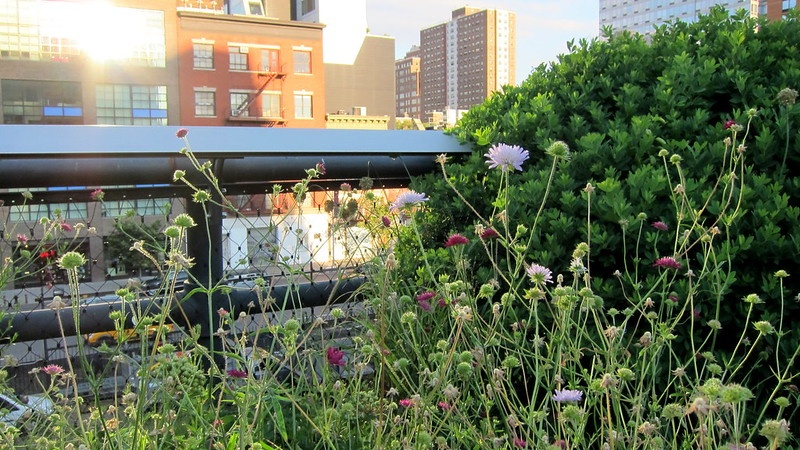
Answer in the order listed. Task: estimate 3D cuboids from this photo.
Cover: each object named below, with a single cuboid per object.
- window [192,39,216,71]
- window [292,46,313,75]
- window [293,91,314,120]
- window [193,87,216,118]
[{"bbox_3d":[-8.427,-7.304,30.316,0.202,1.556,1.303,4,9,40],"label":"window"},{"bbox_3d":[-4.602,-7.758,33.309,1.267,1.633,0.162,-3,2,-26],"label":"window"},{"bbox_3d":[-4.568,-5.686,33.411,1.220,1.704,0.168,-2,2,-22],"label":"window"},{"bbox_3d":[-8.359,-5.251,30.204,0.175,1.393,1.149,9,12,43],"label":"window"}]
